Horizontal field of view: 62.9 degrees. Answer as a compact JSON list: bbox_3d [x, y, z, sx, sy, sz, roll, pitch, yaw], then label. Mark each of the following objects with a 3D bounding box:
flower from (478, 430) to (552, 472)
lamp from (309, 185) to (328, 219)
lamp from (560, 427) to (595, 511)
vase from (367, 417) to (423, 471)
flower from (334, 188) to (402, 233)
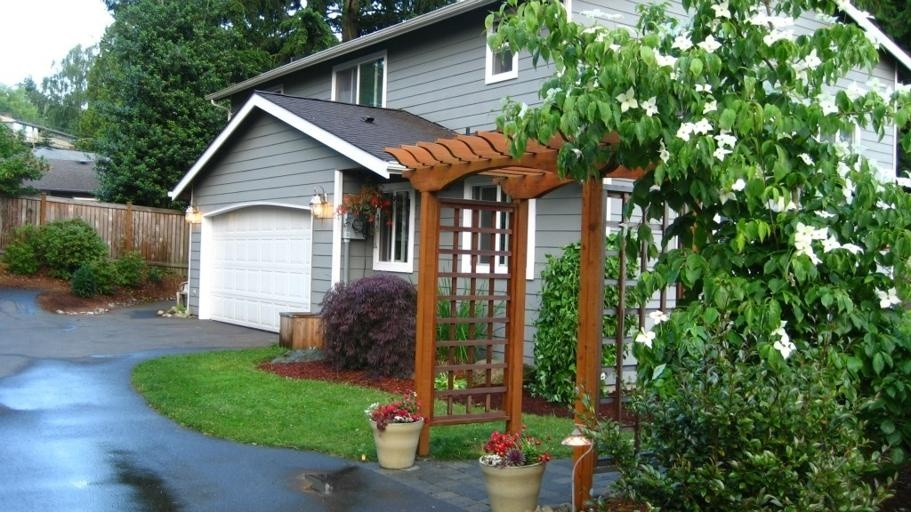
[{"bbox_3d":[0.681,2.314,8.765,0.903,0.492,0.985,-11,-12,32],"label":"flower"},{"bbox_3d":[-2.997,-1.153,16.225,0.339,0.707,0.614,8,-10,-32],"label":"lamp"},{"bbox_3d":[1.303,2.298,8.008,0.311,0.926,0.983,1,-9,10],"label":"lamp"},{"bbox_3d":[-0.717,2.409,9.633,0.787,0.587,0.790,8,-12,-34],"label":"vase"},{"bbox_3d":[-1.864,-1.030,15.882,1.037,0.885,1.040,-8,14,-36],"label":"flower"}]
